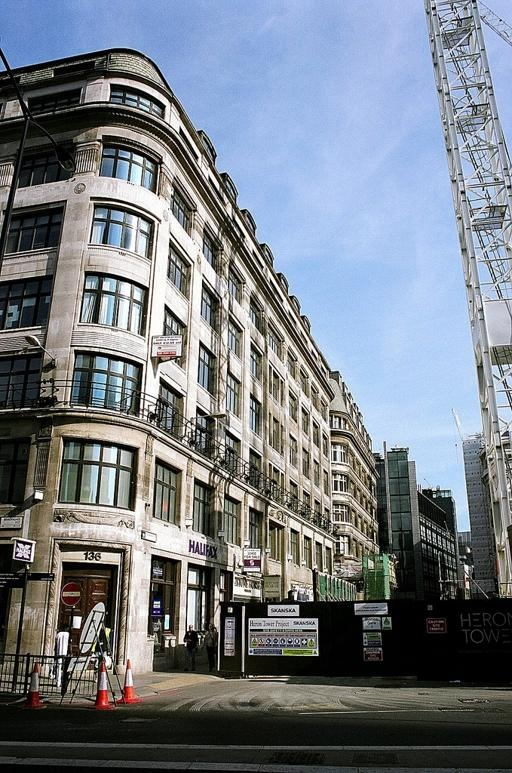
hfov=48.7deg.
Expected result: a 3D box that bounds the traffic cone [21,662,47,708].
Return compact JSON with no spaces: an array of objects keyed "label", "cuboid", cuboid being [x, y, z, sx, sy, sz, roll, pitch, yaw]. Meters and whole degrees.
[{"label":"traffic cone","cuboid":[-4.709,6.384,12.110,0.317,0.841,0.753,6,-23,-20]}]

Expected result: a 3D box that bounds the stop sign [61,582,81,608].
[{"label":"stop sign","cuboid":[-4.725,5.265,14.455,0.387,0.544,0.819,7,-24,-22]}]
